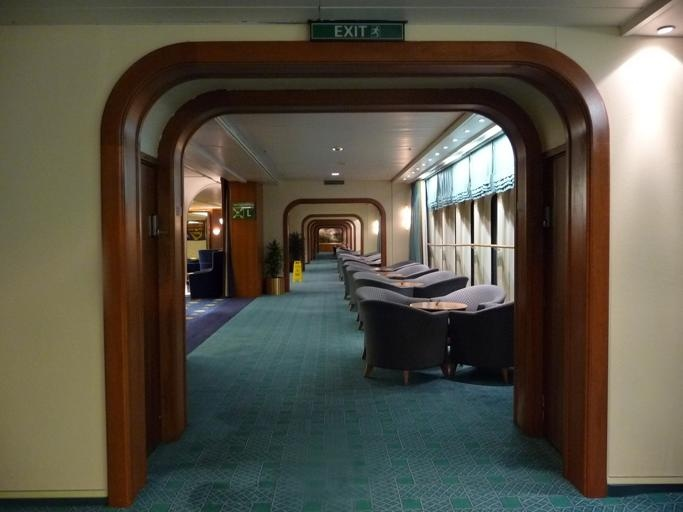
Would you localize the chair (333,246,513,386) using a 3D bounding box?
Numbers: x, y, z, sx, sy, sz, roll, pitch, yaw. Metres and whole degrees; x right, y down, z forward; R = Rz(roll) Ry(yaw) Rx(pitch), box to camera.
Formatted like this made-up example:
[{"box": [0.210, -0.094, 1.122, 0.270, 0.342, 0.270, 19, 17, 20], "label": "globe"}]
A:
[{"box": [1.061, 0.737, 5.767, 1.473, 1.021, 1.159, -3, 4, -8], "label": "chair"}]

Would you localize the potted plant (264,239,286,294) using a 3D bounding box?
[{"box": [-1.919, 0.326, 13.706, 0.648, 1.466, 0.592, 0, 5, 2], "label": "potted plant"}]
